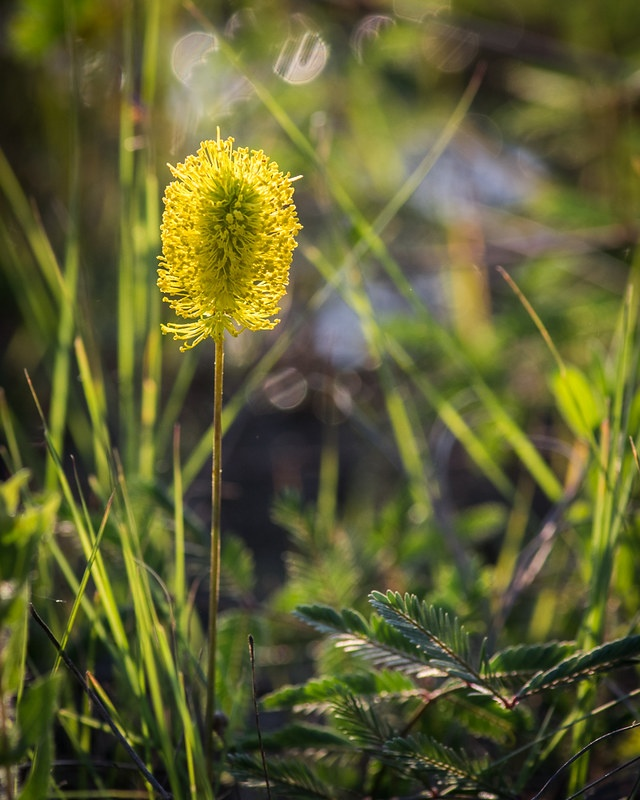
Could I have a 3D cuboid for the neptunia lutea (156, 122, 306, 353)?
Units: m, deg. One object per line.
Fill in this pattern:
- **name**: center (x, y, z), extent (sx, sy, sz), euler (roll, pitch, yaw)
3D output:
- **neptunia lutea**: center (-0.134, -0.229, 1.304), extent (0.204, 0.292, 0.207), euler (4, 24, 3)
